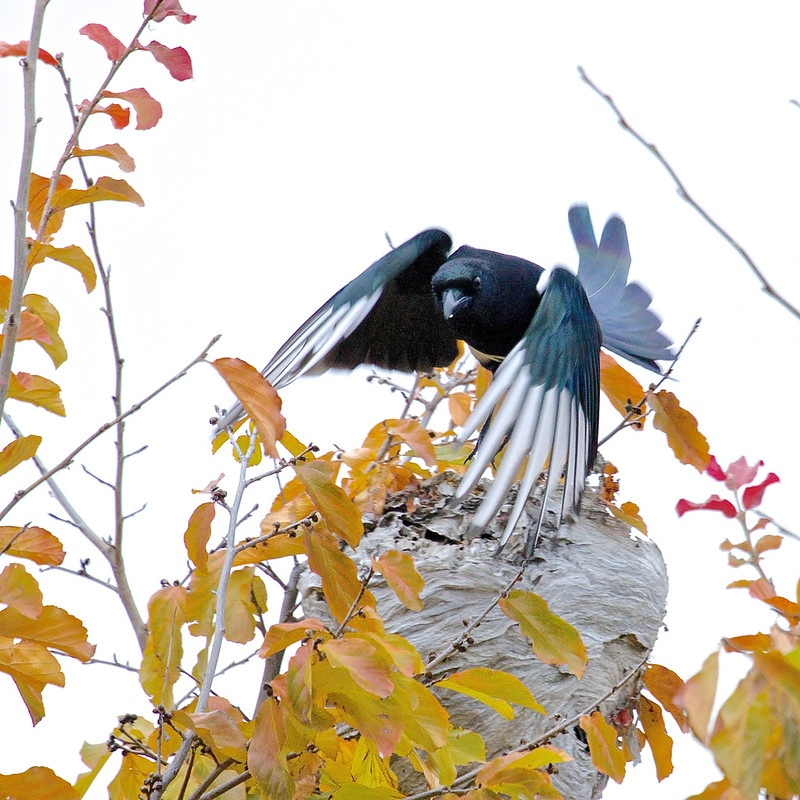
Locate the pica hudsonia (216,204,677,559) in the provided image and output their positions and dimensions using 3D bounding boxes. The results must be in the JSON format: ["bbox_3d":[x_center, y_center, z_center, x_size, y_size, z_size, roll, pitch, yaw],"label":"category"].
[{"bbox_3d":[0.203,-0.072,4.815,0.789,1.195,0.621,19,-76,24],"label":"pica hudsonia"}]
